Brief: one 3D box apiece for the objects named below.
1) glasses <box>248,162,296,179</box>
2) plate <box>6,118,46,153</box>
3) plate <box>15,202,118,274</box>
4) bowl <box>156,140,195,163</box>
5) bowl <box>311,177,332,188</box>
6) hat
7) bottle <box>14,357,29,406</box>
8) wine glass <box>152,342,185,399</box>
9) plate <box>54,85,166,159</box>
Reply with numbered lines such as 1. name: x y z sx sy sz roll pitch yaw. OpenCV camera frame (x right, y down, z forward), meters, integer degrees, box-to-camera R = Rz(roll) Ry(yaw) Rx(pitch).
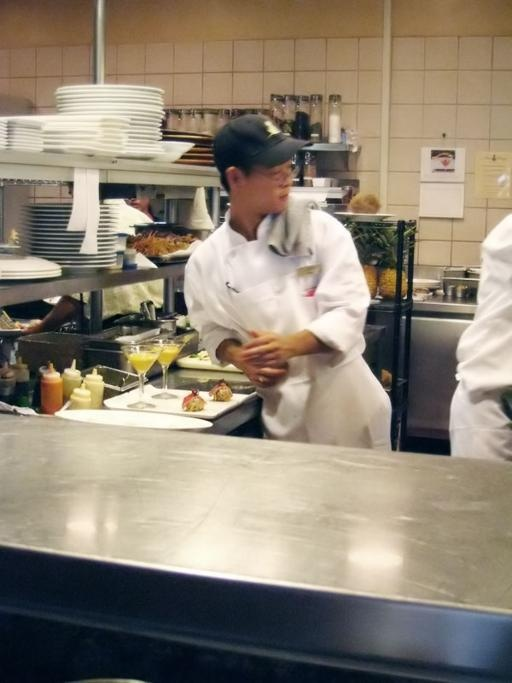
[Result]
1. glasses: 0.066 -0.473 1.773 0.152 0.044 0.082 -6 12 -36
2. plate: -0.563 -0.503 1.559 0.088 0.077 0.054 -2 11 -18
3. plate: -0.565 -0.296 1.907 0.255 0.129 0.235 2 5 -1
4. bowl: -0.245 -0.560 1.901 0.096 0.033 0.096 -2 0 0
5. bowl: 0.511 -1.201 4.872 0.121 0.057 0.113 1 9 0
6. hat: 0.008 -0.533 1.782 0.240 0.112 0.155 -15 21 26
7. bottle: -0.699 0.122 1.904 0.038 0.127 0.145 -2 11 -18
8. wine glass: -0.290 0.092 2.125 0.169 0.177 0.165 2 1 0
9. plate: -0.389 -0.602 1.706 0.257 0.130 0.244 -2 8 -24
